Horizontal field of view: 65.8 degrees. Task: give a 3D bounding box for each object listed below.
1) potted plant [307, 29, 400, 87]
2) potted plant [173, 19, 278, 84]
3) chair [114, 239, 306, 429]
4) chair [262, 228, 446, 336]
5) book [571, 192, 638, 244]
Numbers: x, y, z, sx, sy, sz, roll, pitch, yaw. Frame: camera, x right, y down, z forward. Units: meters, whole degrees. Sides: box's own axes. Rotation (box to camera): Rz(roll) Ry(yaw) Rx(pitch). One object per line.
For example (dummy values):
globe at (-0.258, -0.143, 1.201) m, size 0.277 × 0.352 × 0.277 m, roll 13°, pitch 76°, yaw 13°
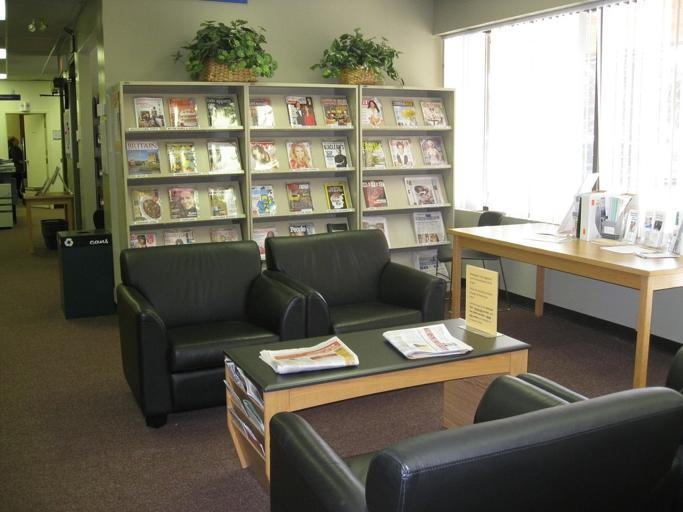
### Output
potted plant at (0.165, -2.145, 5.687) m, size 0.978 × 0.648 × 0.645 m, roll -6°, pitch 13°, yaw -23°
potted plant at (-1.056, -1.948, 5.029) m, size 0.878 × 0.487 × 0.676 m, roll -5°, pitch 36°, yaw -15°
chair at (-0.934, 0.478, 3.733) m, size 1.164 × 1.022 × 0.859 m, roll -4°, pitch 13°, yaw -37°
chair at (0.080, 0.297, 4.110) m, size 1.219 × 0.816 × 0.899 m, roll -6°, pitch 14°, yaw -31°
book at (2.117, -0.325, 4.307) m, size 0.452 × 0.434 × 0.362 m, roll -2°, pitch 5°, yaw -17°
